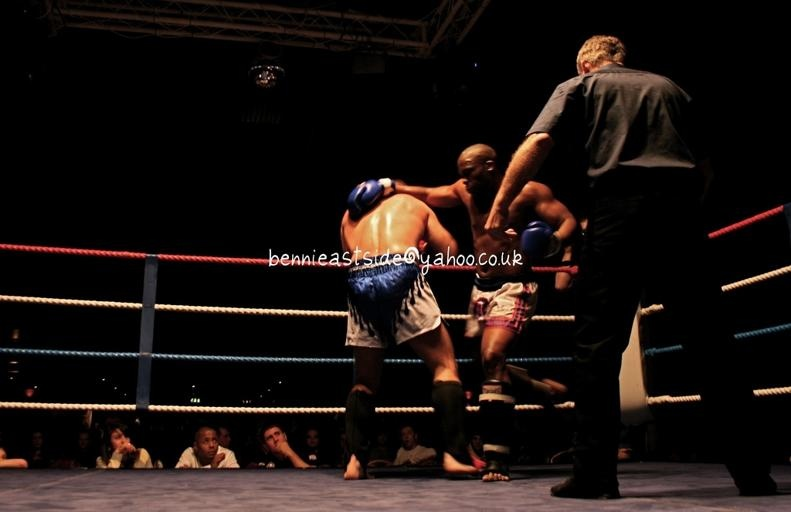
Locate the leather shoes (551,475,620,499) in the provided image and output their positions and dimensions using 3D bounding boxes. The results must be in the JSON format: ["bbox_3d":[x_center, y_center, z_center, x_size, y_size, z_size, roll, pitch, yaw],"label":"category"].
[{"bbox_3d":[0.971,1.195,3.707,0.319,0.111,0.128,0,-23,10],"label":"leather shoes"}]

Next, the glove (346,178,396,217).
[{"bbox_3d":[-0.110,-0.433,4.836,0.322,0.123,0.230,3,-4,33],"label":"glove"}]
